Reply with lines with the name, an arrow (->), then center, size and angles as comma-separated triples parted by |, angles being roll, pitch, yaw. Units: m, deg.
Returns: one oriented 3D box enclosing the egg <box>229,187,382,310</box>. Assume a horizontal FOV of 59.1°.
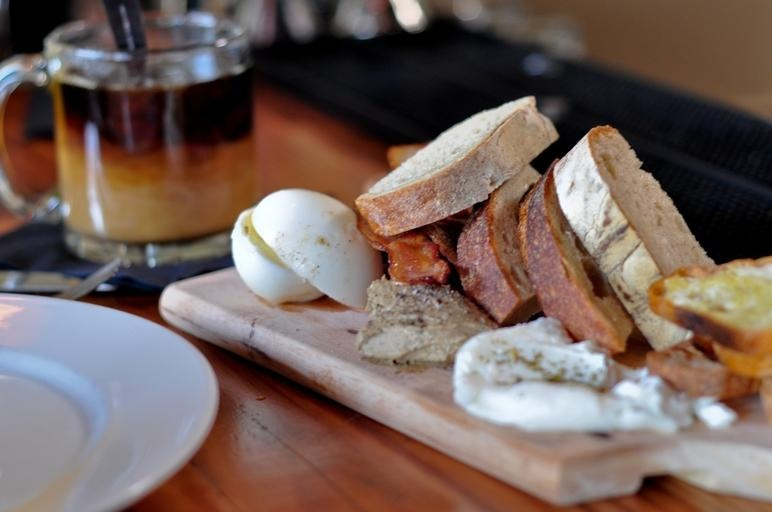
egg -> -0.108, -0.022, 0.953 | 0.183, 0.094, 0.160 | 6, 49, 2
